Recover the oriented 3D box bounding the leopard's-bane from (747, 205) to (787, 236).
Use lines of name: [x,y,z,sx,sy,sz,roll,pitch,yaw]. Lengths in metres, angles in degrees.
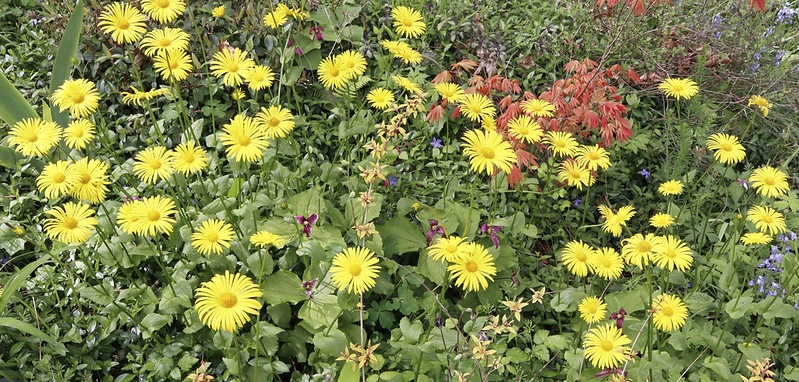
leopard's-bane: [3.504,0.296,4.896,0.415,0.069,0.355,5,45,6]
